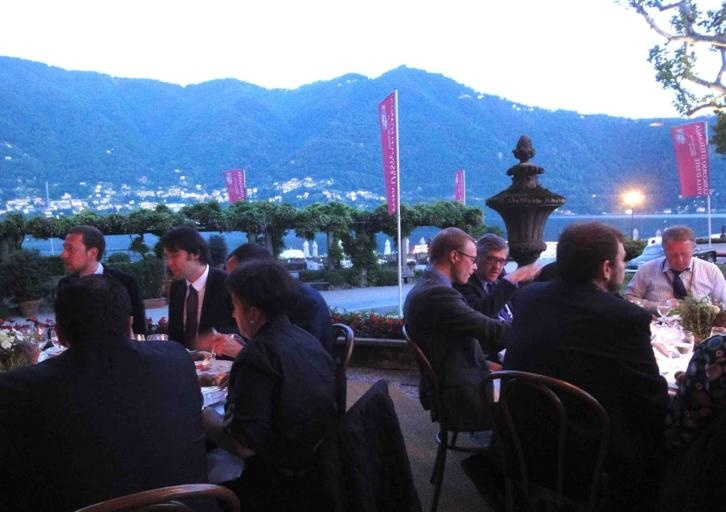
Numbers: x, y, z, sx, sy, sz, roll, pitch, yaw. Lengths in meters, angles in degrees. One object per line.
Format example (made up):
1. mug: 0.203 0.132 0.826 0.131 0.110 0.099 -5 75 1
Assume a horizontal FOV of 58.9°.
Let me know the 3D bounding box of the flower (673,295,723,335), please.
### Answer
1. flower: 2.454 0.435 4.807 0.301 0.373 0.350 4 -5 16

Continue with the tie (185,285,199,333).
1. tie: -1.439 0.453 5.389 0.135 0.404 0.029 -2 4 18

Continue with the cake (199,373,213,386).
1. cake: -1.038 0.806 4.236 0.087 0.065 0.141 -4 3 -17

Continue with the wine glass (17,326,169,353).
1. wine glass: -1.619 0.482 3.731 0.378 0.140 0.471 2 1 8

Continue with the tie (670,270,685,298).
1. tie: 2.892 0.259 5.929 0.048 0.264 0.071 -23 -45 33

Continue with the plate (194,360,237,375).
1. plate: -1.026 0.767 4.459 0.204 0.046 0.208 10 11 37

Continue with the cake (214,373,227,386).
1. cake: -0.934 0.806 4.224 0.049 0.068 0.029 10 -7 41

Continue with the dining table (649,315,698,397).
1. dining table: 2.066 0.648 4.314 0.253 0.275 1.028 -1 3 24

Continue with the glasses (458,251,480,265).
1. glasses: 0.761 0.002 4.735 0.108 0.031 0.106 20 4 28
